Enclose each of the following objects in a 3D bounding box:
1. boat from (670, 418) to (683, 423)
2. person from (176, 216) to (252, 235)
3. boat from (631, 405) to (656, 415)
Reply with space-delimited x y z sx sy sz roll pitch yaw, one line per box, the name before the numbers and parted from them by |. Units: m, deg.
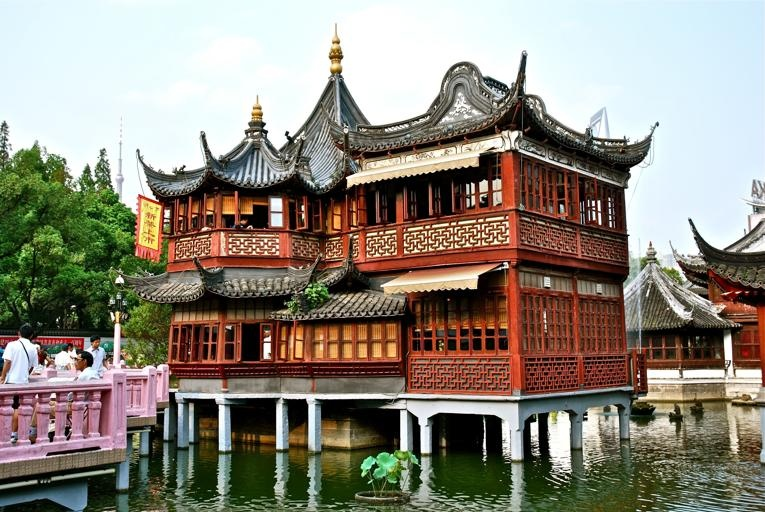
boat | 13.934 7.819 34.838 0.418 0.153 0.310 -3 -10 26
person | -5.745 -1.162 27.304 1.998 0.583 1.057 2 1 -7
boat | 12.980 7.703 36.653 0.857 0.296 0.900 -1 -9 4
